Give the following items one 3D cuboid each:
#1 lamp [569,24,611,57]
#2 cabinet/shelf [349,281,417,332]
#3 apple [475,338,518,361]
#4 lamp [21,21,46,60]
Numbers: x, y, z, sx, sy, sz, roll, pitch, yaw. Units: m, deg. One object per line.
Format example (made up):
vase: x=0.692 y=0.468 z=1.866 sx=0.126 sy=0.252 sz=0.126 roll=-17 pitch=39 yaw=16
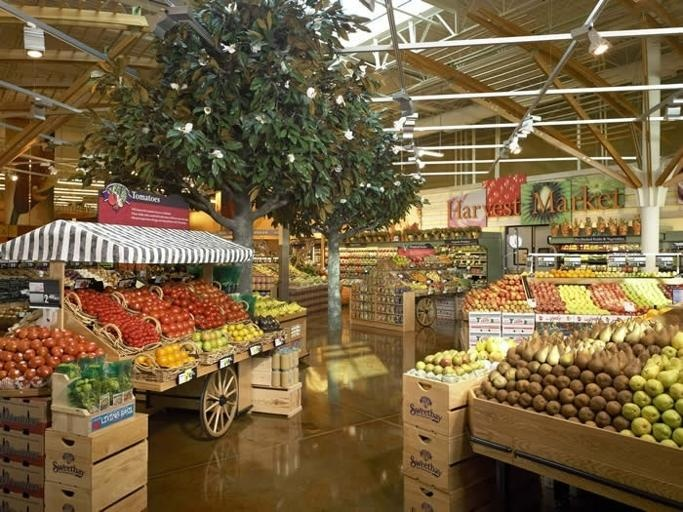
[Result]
lamp: x=3.240 y=-2.821 z=6.632 sx=0.418 sy=0.410 sz=0.829 roll=1 pitch=6 yaw=25
cabinet/shelf: x=1.009 y=1.152 z=12.035 sx=0.587 sy=1.012 sz=1.703 roll=-6 pitch=7 yaw=-41
apple: x=1.508 y=0.886 z=4.924 sx=0.311 sy=0.092 sz=0.255 roll=-3 pitch=2 yaw=-16
lamp: x=-3.881 y=-2.762 z=6.462 sx=0.272 sy=0.327 sz=0.249 roll=4 pitch=19 yaw=-9
